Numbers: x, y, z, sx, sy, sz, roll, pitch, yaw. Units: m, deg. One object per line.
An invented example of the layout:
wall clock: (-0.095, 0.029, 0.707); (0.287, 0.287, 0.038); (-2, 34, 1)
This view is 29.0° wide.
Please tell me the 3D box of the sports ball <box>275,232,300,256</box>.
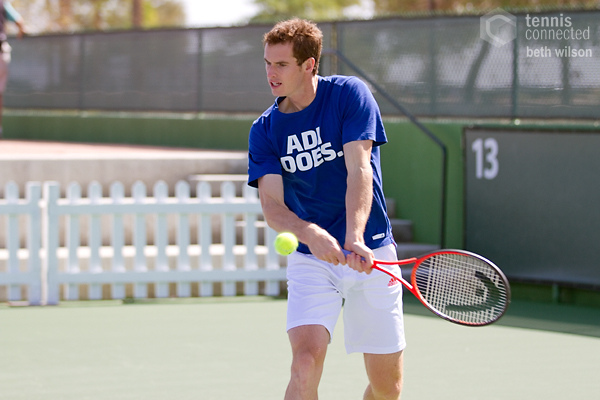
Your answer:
sports ball: (-0.120, 0.453, 12.272); (0.215, 0.228, 0.267); (-5, -36, 9)
